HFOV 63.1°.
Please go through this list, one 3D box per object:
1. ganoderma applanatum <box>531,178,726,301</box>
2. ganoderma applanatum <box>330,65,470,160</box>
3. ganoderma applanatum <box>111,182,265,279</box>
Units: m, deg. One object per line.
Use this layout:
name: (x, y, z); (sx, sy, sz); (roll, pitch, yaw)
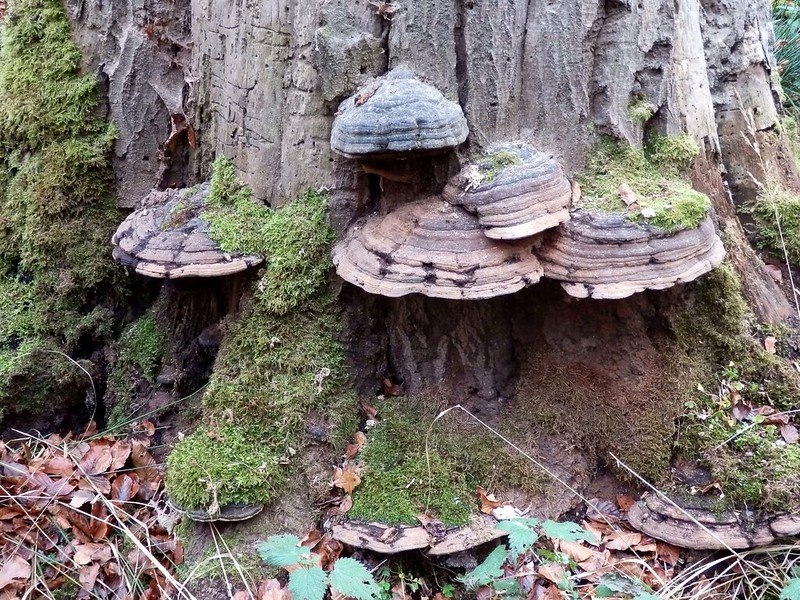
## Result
ganoderma applanatum: (1.756, -0.519, 5.025); (1.347, 0.450, 1.414); (-22, 19, -24)
ganoderma applanatum: (0.029, -1.418, 4.713); (1.000, 0.531, 1.101); (18, 32, 42)
ganoderma applanatum: (-1.747, -0.515, 5.167); (0.776, 0.474, 1.207); (-23, 29, -40)
